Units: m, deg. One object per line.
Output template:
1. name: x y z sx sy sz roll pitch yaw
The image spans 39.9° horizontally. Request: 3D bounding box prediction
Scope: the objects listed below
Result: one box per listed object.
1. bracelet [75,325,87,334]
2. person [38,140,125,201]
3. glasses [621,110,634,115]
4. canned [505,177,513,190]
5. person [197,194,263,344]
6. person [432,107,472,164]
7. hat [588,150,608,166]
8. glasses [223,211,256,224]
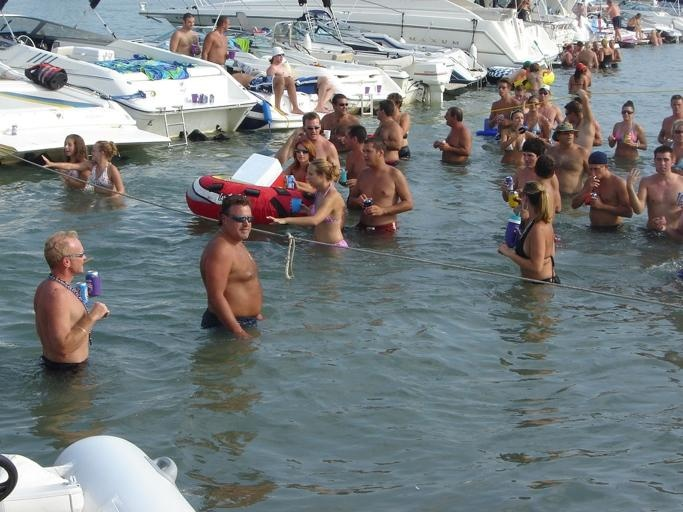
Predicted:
1. bracelet: -2.572 0.733 9.301 0.115 0.066 0.027 10 55 -1
2. person: -4.142 -1.343 14.781 1.217 1.258 0.686 -10 46 -29
3. glasses: 5.219 -2.657 17.153 0.180 0.094 0.209 2 8 12
4. canned: 2.373 -1.040 13.292 0.094 0.168 0.189 3 10 19
5. person: -1.141 0.119 10.056 0.694 1.559 0.335 -6 13 -22
6. person: 2.054 -2.237 17.322 0.637 1.062 0.998 0 10 5
7. hat: 3.637 -1.398 13.306 0.278 0.128 0.264 2 5 31
8. glasses: -1.101 -0.408 9.918 0.295 0.108 0.117 -2 10 -15
